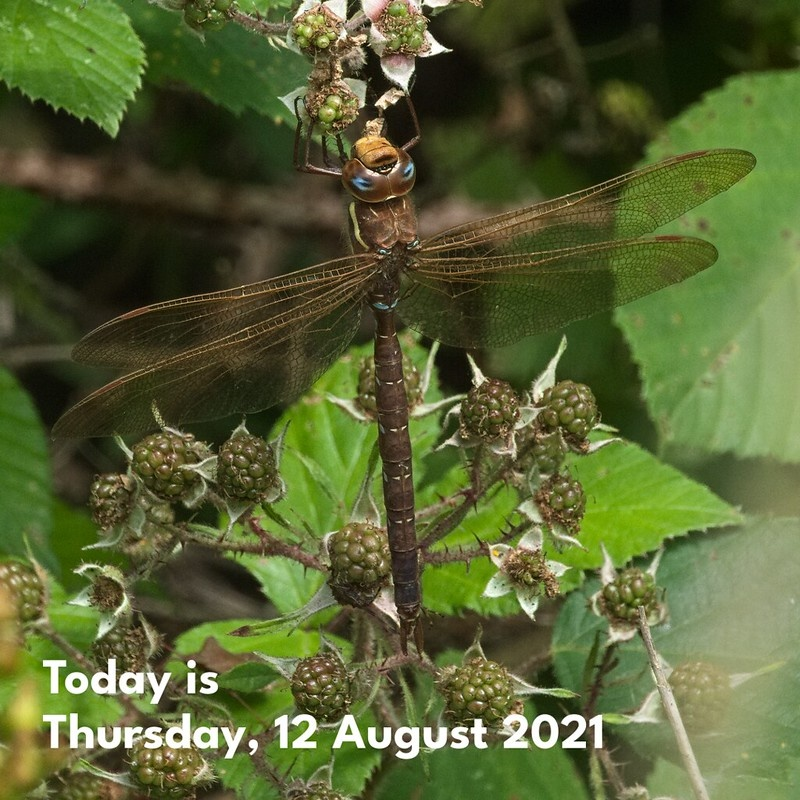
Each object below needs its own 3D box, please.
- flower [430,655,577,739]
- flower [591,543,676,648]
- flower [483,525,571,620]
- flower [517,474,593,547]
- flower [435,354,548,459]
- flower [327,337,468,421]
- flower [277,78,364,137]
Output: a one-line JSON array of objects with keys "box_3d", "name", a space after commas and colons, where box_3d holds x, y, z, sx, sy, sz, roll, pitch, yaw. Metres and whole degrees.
[{"box_3d": [0.255, 0.765, 2.724, 0.273, 0.104, 0.272, 27, -28, -34], "name": "flower"}, {"box_3d": [0.643, 0.570, 2.940, 0.243, 0.134, 0.309, 23, 26, 13], "name": "flower"}, {"box_3d": [0.341, 0.475, 2.828, 0.302, 0.237, 0.148, -8, -12, 4], "name": "flower"}, {"box_3d": [0.432, 0.293, 2.832, 0.239, 0.088, 0.203, 11, -19, 1], "name": "flower"}, {"box_3d": [0.264, 0.026, 2.940, 0.360, 0.167, 0.318, -4, 48, 9], "name": "flower"}, {"box_3d": [-0.010, -0.051, 3.386, 0.354, 0.126, 0.330, -9, -3, -35], "name": "flower"}, {"box_3d": [-0.206, -0.848, 2.971, 0.245, 0.152, 0.131, -18, 19, 3], "name": "flower"}]
